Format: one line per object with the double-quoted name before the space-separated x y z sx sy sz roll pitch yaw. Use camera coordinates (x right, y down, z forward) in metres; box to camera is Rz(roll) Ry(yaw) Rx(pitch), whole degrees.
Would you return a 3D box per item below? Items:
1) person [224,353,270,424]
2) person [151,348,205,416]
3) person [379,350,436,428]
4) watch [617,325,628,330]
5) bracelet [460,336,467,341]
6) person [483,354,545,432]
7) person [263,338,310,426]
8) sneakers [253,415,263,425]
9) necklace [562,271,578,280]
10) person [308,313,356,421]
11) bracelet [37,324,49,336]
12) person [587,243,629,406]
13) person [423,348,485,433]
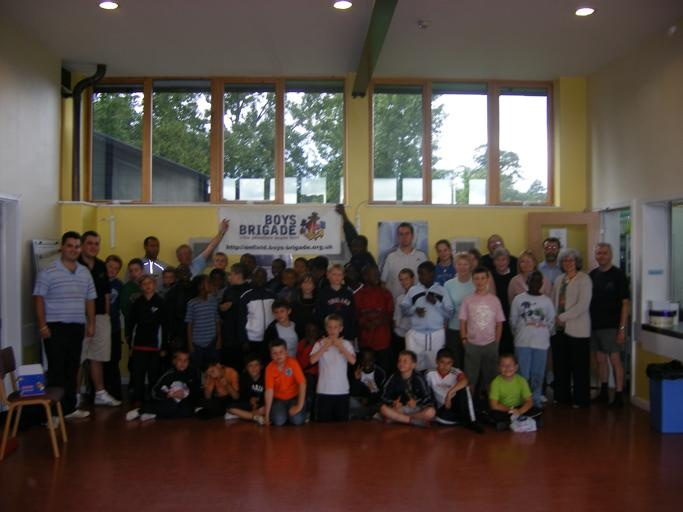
"person" -1.061 1.556 7.516 0.556 0.743 0.665 -2 -4 10
"person" -1.988 1.539 7.589 0.618 0.780 0.482 9 -2 -43
"person" 0.756 1.508 7.248 0.590 0.790 0.692 -6 4 -36
"watch" 3.462 0.893 7.843 0.064 0.053 0.061 5 10 31
"bracelet" 1.470 1.004 7.673 0.054 0.041 0.055 0 5 8
"person" 1.900 1.523 7.104 0.487 0.800 0.349 1 8 8
"person" -0.665 1.443 7.248 0.473 0.971 0.271 -1 8 -8
"sneakers" -0.956 1.887 7.290 0.073 0.083 0.140 -5 10 -32
"necklace" 2.880 0.253 8.070 0.105 0.139 0.121 8 -4 31
"person" -0.121 1.301 7.435 0.512 1.236 0.311 -1 8 -4
"bracelet" -3.399 0.846 7.197 0.100 0.116 0.130 3 -8 -9
"person" 3.384 0.843 7.967 0.400 1.995 0.646 -4 9 -25
"person" 1.218 1.544 7.240 0.483 0.795 0.799 -5 5 -25
